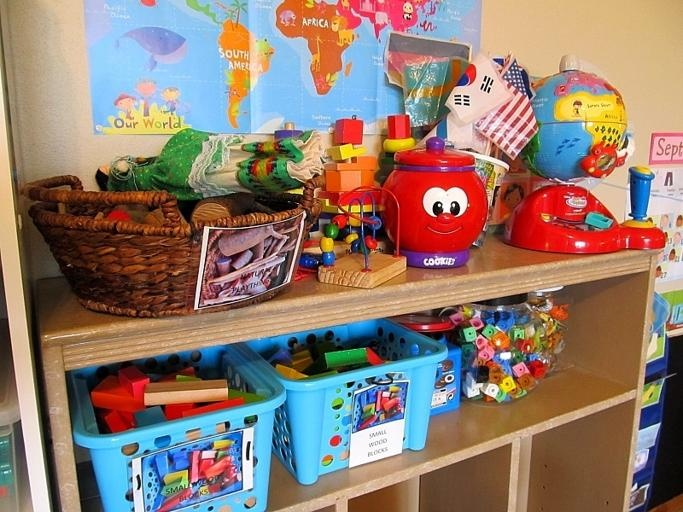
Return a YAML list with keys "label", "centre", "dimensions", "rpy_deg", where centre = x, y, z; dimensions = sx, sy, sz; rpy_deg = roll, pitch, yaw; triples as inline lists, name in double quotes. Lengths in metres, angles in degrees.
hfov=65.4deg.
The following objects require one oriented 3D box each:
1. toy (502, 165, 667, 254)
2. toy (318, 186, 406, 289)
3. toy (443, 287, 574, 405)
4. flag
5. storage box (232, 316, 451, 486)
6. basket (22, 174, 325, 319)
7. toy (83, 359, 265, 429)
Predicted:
- label: "toy"
  centre: [0.635, -0.093, 1.407]
  dimensions: [0.302, 0.176, 0.286]
  rpy_deg: [-7, 10, -29]
- label: "toy"
  centre: [0.076, -0.046, 1.199]
  dimensions: [0.172, 0.255, 0.260]
  rpy_deg: [5, 6, 36]
- label: "toy"
  centre: [0.426, 0.232, 1.568]
  dimensions: [0.369, 0.323, 0.269]
  rpy_deg: [-3, 6, -22]
- label: "flag"
  centre: [0.346, -0.438, 1.442]
  dimensions: [0.329, 0.346, 0.301]
  rpy_deg: [-11, 14, -33]
- label: "storage box"
  centre: [0.001, 0.301, 1.236]
  dimensions: [0.422, 0.241, 0.334]
  rpy_deg: [-8, 14, -32]
- label: "basket"
  centre: [-0.324, -0.051, 1.086]
  dimensions: [0.523, 0.224, 0.566]
  rpy_deg: [4, 12, 12]
- label: "toy"
  centre: [-0.362, 0.277, 1.062]
  dimensions: [0.215, 0.067, 0.164]
  rpy_deg: [-3, 10, -27]
